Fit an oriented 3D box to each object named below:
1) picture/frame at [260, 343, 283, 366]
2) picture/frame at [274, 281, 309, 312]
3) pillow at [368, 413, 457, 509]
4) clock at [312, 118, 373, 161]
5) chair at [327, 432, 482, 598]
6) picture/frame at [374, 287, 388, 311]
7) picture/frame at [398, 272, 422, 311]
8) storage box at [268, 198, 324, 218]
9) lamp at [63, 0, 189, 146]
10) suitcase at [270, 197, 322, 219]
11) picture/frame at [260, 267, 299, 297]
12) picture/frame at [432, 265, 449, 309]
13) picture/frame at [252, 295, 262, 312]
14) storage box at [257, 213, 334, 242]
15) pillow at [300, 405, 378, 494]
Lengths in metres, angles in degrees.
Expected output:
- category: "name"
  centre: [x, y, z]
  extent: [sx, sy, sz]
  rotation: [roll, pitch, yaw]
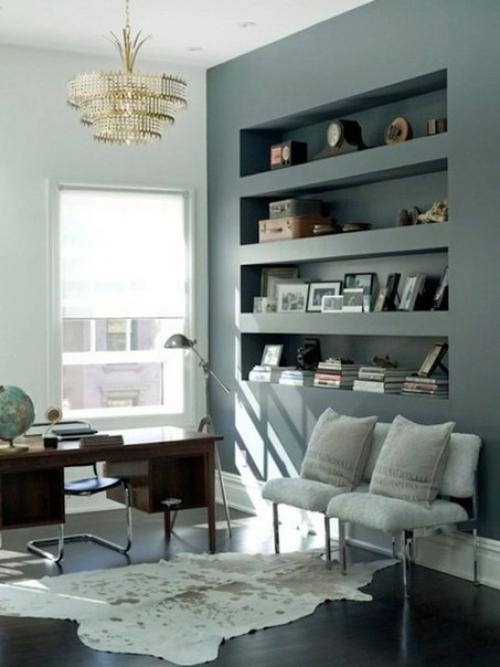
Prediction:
- category: "picture/frame"
  centre: [0.178, 0.187, 5.335]
  extent: [0.021, 0.193, 0.211]
  rotation: [27, -14, -38]
- category: "picture/frame"
  centre: [0.347, -0.293, 5.100]
  extent: [0.021, 0.220, 0.292]
  rotation: [15, -8, -40]
- category: "pillow"
  centre: [0.882, 0.692, 3.450]
  extent: [0.298, 0.395, 0.480]
  rotation: [-4, -3, -19]
- category: "clock"
  centre: [0.657, -1.333, 4.469]
  extent: [0.178, 0.304, 0.491]
  rotation: [3, -6, -25]
- category: "chair"
  centre: [0.798, 0.930, 3.379]
  extent: [0.732, 0.720, 0.685]
  rotation: [-1, -1, -40]
- category: "picture/frame"
  centre: [0.882, -0.219, 4.246]
  extent: [0.039, 0.135, 0.141]
  rotation: [9, -3, -14]
- category: "picture/frame"
  centre: [1.016, -0.259, 4.009]
  extent: [0.058, 0.200, 0.157]
  rotation: [25, -14, -30]
- category: "storage box"
  centre: [0.410, -0.986, 5.010]
  extent: [0.238, 0.098, 0.298]
  rotation: [-4, 6, -33]
- category: "lamp"
  centre: [-0.653, -1.187, 3.324]
  extent: [0.621, 0.283, 0.335]
  rotation: [0, -6, -5]
- category: "suitcase"
  centre: [0.407, -0.981, 5.006]
  extent: [0.239, 0.099, 0.299]
  rotation: [-2, 3, -32]
- category: "picture/frame"
  centre: [0.257, -0.429, 5.327]
  extent: [0.307, 0.269, 0.030]
  rotation: [-3, -10, 33]
- category: "picture/frame"
  centre: [1.143, -0.266, 3.812]
  extent: [0.092, 0.271, 0.282]
  rotation: [-2, -6, 15]
- category: "picture/frame"
  centre: [0.060, -0.240, 5.383]
  extent: [0.030, 0.116, 0.115]
  rotation: [2, 6, -17]
- category: "storage box"
  centre: [0.379, -0.816, 4.901]
  extent: [0.304, 0.118, 0.363]
  rotation: [1, -2, -39]
- category: "pillow"
  centre: [0.554, 0.705, 3.931]
  extent: [0.314, 0.430, 0.531]
  rotation: [-6, 1, -27]
